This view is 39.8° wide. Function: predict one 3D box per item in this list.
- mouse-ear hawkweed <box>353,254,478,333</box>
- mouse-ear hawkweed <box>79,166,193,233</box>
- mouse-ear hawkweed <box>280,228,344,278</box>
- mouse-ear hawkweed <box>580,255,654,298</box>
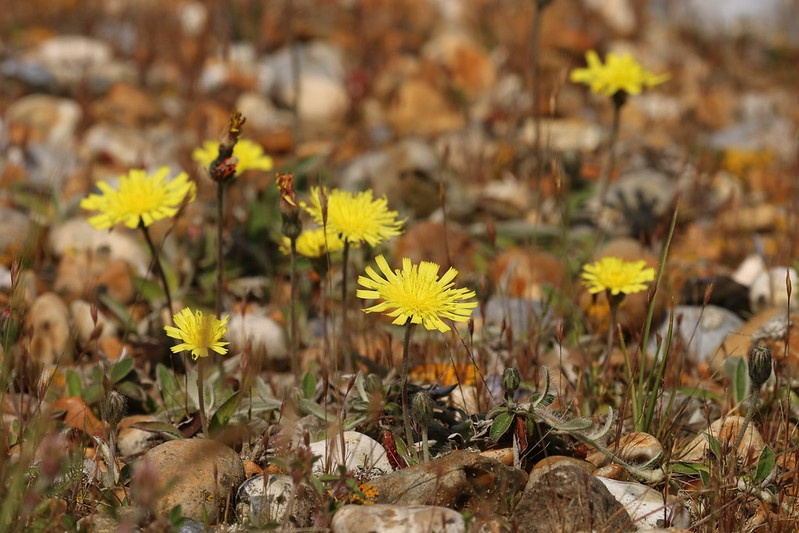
[{"bbox_3d":[0.055,0.168,4.282,0.315,0.179,0.399,4,52,-24],"label":"mouse-ear hawkweed"},{"bbox_3d":[-1.055,-0.285,4.668,0.404,0.430,0.181,-9,80,21],"label":"mouse-ear hawkweed"},{"bbox_3d":[-0.373,-0.083,4.741,0.189,0.220,0.209,4,2,32],"label":"mouse-ear hawkweed"},{"bbox_3d":[0.909,0.037,4.609,0.294,0.297,0.162,8,72,-35],"label":"mouse-ear hawkweed"}]
